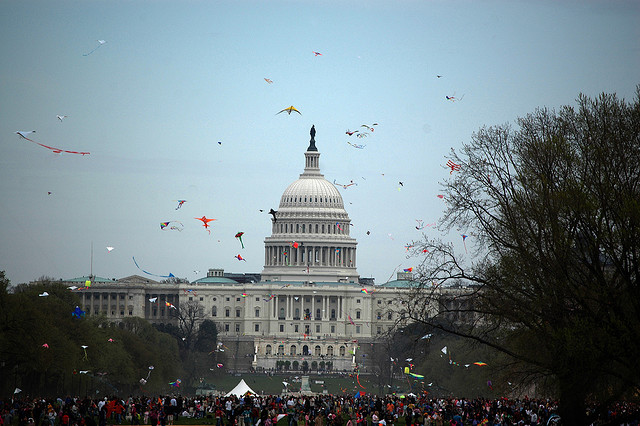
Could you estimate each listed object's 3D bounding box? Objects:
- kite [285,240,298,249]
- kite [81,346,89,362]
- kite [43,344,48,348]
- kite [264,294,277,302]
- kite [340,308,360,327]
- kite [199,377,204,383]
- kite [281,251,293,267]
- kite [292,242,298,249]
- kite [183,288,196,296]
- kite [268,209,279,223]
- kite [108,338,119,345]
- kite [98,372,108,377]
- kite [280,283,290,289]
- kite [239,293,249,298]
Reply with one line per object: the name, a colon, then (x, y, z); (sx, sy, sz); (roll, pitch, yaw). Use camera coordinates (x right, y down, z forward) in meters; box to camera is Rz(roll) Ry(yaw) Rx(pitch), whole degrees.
kite: (-5.271, 5.898, 227.172); (1.210, 1.552, 3.840); (1, -1, -9)
kite: (-22.642, 13.539, 116.969); (1.124, 1.301, 1.151); (6, 13, -2)
kite: (-24.021, 11.585, 106.340); (0.387, 0.421, 0.150); (6, 9, 6)
kite: (-8.922, 15.471, 221.517); (1.562, 1.072, 2.630); (5, -2, -15)
kite: (5.727, 19.194, 221.492); (2.684, 2.131, 1.120); (5, -2, 1)
kite: (-15.291, 21.467, 157.033); (0.678, 0.700, 0.079); (1, -11, -4)
kite: (-6.121, 8.775, 228.937); (1.717, 2.476, 2.257); (-4, -32, 4)
kite: (-4.599, 6.057, 225.826); (0.811, 1.192, 0.419); (-1, 6, -1)
kite: (-23.364, 14.281, 218.240); (2.050, 0.974, 5.421); (5, -2, -3)
kite: (-5.059, 0.499, 136.921); (0.604, 1.977, 1.285); (-9, 0, 22)
kite: (-21.829, 13.507, 128.775); (1.158, 0.463, 0.301); (5, -3, 0)
kite: (-21.402, 15.809, 119.764); (1.091, 0.232, 0.298); (-1, 37, -12)
kite: (-6.110, 13.383, 221.731); (1.511, 0.674, 0.943); (7, -3, -40)
kite: (-13.857, 15.074, 222.125); (1.114, 0.629, 0.938); (6, -3, -26)
